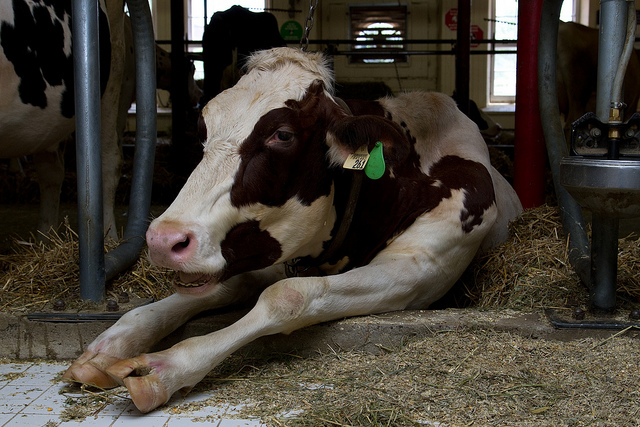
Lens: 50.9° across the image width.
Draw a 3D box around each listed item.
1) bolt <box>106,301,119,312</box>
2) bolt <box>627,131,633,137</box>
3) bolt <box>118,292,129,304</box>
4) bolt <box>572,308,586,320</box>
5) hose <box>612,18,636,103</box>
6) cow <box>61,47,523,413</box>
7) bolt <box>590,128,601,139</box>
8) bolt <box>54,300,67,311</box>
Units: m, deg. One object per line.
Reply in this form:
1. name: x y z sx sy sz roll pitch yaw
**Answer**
1. bolt: -1.008 0.450 3.267 0.049 0.028 0.048 5 13 18
2. bolt: 1.346 -0.350 2.920 0.026 0.024 0.007 1 -1 16
3. bolt: -0.994 0.430 3.401 0.043 0.042 0.053 1 -6 -9
4. bolt: 1.232 0.472 3.174 0.077 0.051 0.048 -1 7 -15
5. hose: 1.379 -0.698 3.050 0.076 0.390 0.256 4 8 23
6. cow: 0.152 0.024 3.733 1.250 1.511 2.984 8 5 40
7. bolt: 1.210 -0.354 2.950 0.044 0.040 0.012 0 -4 10
8. bolt: -1.267 0.450 3.270 0.048 0.041 0.052 -2 -7 45
